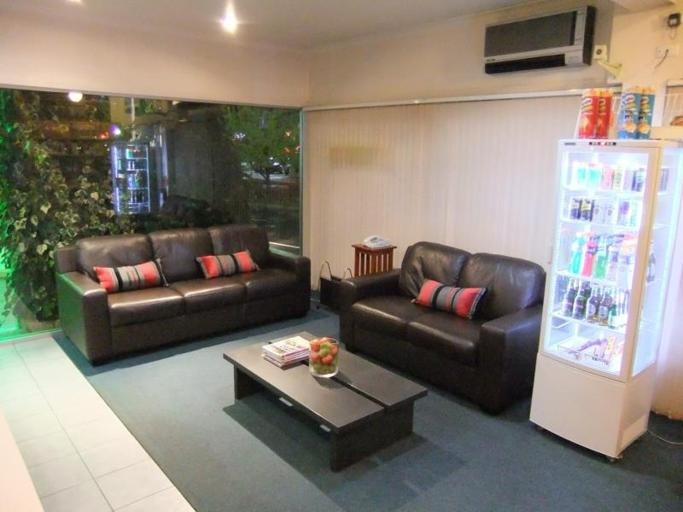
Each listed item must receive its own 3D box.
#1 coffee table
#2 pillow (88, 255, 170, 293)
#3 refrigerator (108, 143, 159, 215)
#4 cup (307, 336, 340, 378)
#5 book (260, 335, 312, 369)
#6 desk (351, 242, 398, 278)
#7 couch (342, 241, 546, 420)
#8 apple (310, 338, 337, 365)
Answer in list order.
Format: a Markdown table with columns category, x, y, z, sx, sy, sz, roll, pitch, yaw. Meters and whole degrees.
| category | x | y | z | sx | sy | sz | roll | pitch | yaw |
| --- | --- | --- | --- | --- | --- | --- | --- | --- | --- |
| coffee table | 0.084 | 1.164 | 3.804 | 1.065 | 0.309 | 0.677 | -2 | 14 | -46 |
| pillow | -2.256 | 0.226 | 5.355 | 0.657 | 0.349 | 0.206 | -8 | -12 | -32 |
| refrigerator | -2.388 | -0.906 | 5.880 | 0.506 | 1.044 | 0.247 | -3 | -5 | 8 |
| cup | -0.099 | 0.791 | 3.956 | 0.200 | 0.227 | 0.209 | -13 | 28 | 7 |
| book | -0.422 | 0.789 | 4.164 | 0.241 | 0.060 | 0.246 | 8 | 13 | 39 |
| desk | 0.339 | 0.095 | 5.974 | 0.433 | 0.468 | 0.424 | 5 | 5 | -14 |
| couch | 1.002 | 0.550 | 4.944 | 1.069 | 1.159 | 1.914 | -10 | 16 | -43 |
| apple | -0.138 | 0.744 | 3.953 | 0.181 | 0.164 | 0.195 | 1 | 0 | 0 |
